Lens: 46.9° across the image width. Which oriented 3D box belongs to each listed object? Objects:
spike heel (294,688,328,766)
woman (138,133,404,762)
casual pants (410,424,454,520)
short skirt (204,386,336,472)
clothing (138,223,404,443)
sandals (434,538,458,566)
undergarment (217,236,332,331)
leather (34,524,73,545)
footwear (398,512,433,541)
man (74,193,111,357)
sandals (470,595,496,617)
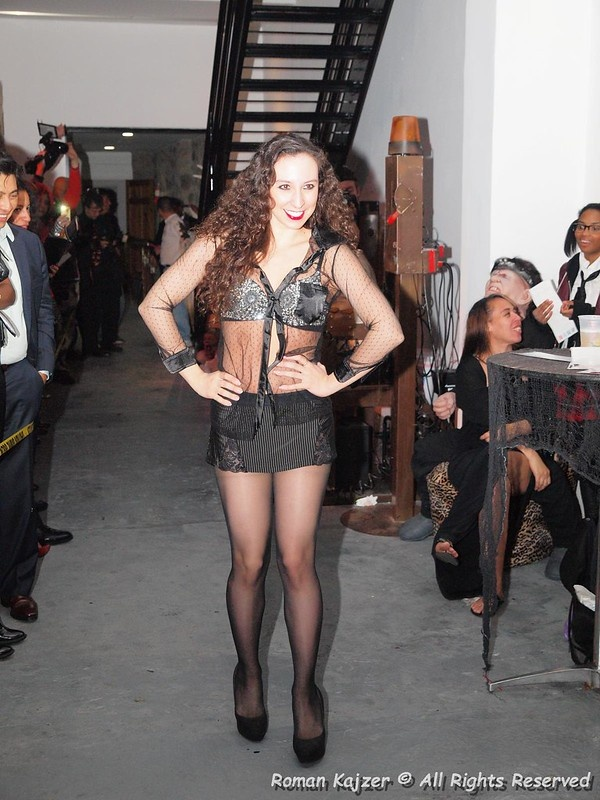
[{"bbox_3d":[0.022,0.727,1.539,0.067,0.168,0.052,-2,14,5],"label":"spike heel"},{"bbox_3d":[-0.063,0.129,1.521,0.557,1.365,0.227,1,7,7],"label":"woman"},{"bbox_3d":[0.532,0.307,2.908,0.166,0.337,0.274,10,-4,-15],"label":"casual pants"},{"bbox_3d":[-0.052,0.073,1.429,0.312,0.180,0.166,-1,0,-8],"label":"short skirt"},{"bbox_3d":[0.002,-0.131,1.325,0.588,0.356,0.117,2,4,5],"label":"clothing"},{"bbox_3d":[0.523,0.546,2.498,0.074,0.036,0.098,-5,-30,45],"label":"sandals"},{"bbox_3d":[-0.052,-0.240,1.387,0.193,0.156,0.095,-4,26,-13],"label":"undergarment"},{"bbox_3d":[-1.106,0.602,3.123,0.180,0.065,0.064,-2,16,-22],"label":"leather"},{"bbox_3d":[0.530,0.584,3.158,0.163,0.055,0.105,-27,41,-27],"label":"footwear"},{"bbox_3d":[-2.399,-1.453,8.049,0.381,1.865,0.404,-2,7,-16],"label":"man"},{"bbox_3d":[0.630,0.715,2.399,0.058,0.050,0.152,0,3,3],"label":"sandals"}]
